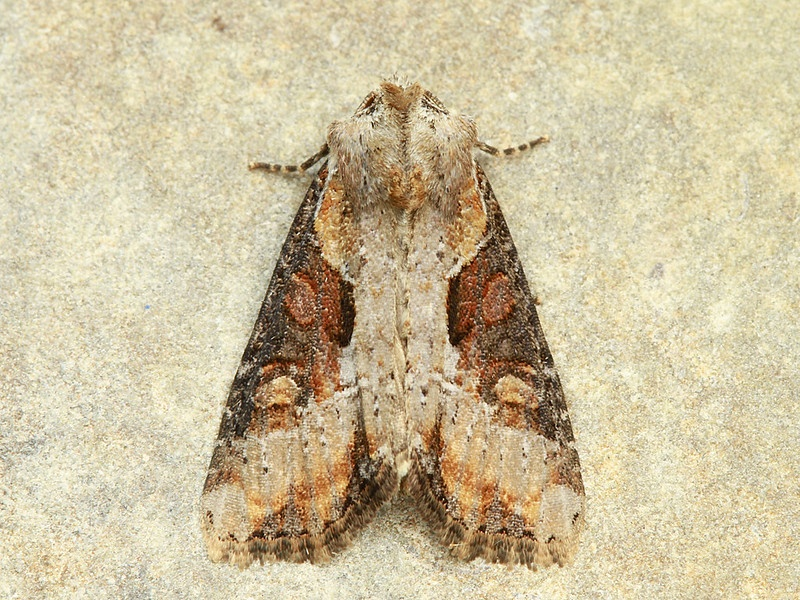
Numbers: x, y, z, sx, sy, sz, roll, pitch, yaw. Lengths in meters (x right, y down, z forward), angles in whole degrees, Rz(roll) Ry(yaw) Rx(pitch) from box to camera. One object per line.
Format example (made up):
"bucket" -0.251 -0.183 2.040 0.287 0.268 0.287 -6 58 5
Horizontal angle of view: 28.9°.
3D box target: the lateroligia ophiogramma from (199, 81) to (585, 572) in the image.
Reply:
"lateroligia ophiogramma" -0.060 0.239 7.660 1.832 0.697 2.497 -1 89 1
